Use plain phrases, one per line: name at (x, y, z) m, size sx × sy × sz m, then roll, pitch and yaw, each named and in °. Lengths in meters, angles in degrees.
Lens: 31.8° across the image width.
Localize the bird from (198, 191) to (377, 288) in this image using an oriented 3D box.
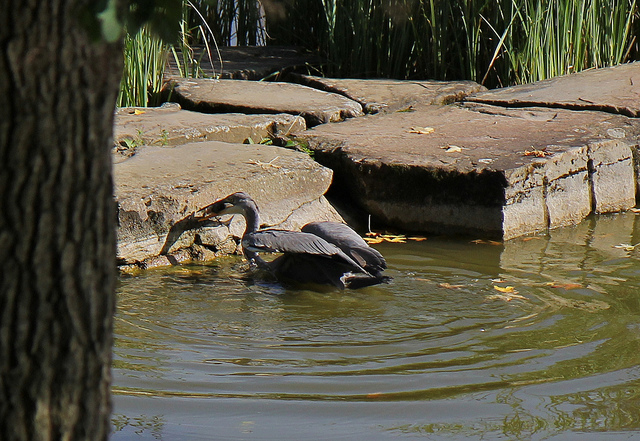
bird at (-0.181, 0.125, 7.053) m, size 1.195 × 0.629 × 0.476 m, roll -4°, pitch 3°, yaw 26°
